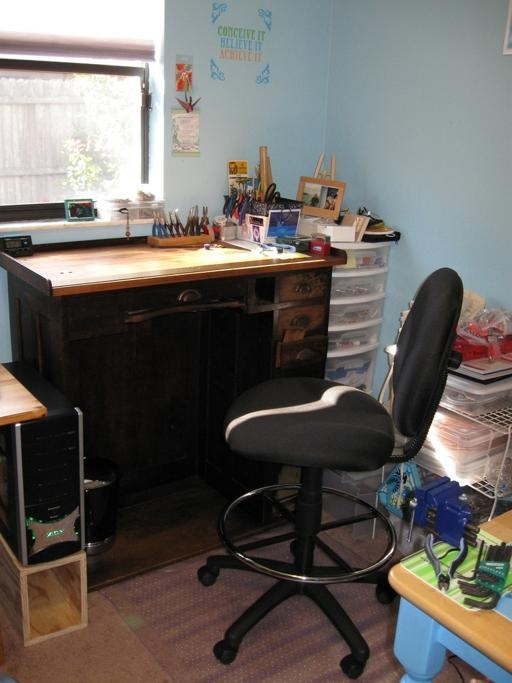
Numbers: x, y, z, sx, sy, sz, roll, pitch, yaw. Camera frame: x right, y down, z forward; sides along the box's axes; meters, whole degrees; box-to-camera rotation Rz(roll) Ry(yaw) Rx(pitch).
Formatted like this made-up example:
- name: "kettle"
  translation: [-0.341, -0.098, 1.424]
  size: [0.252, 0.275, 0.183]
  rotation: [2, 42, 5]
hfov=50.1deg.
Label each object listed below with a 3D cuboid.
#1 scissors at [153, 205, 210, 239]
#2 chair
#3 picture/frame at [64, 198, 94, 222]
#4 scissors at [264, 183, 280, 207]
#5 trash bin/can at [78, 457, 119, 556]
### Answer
- name: "scissors"
  translation: [-0.338, -0.502, 2.322]
  size: [0.231, 0.164, 0.158]
  rotation: [-14, 26, -41]
- name: "chair"
  translation: [0.199, 0.337, 1.649]
  size: [0.631, 1.158, 0.565]
  rotation: [2, 15, -4]
- name: "picture/frame"
  translation: [-0.691, -0.521, 2.176]
  size: [0.144, 0.086, 0.093]
  rotation: [-10, 19, -41]
- name: "scissors"
  translation: [0.065, -0.599, 2.313]
  size: [0.006, 0.114, 0.115]
  rotation: [15, 35, -22]
- name: "trash bin/can"
  translation: [-0.555, 0.591, 1.978]
  size: [0.150, 0.327, 0.149]
  rotation: [2, 17, -10]
